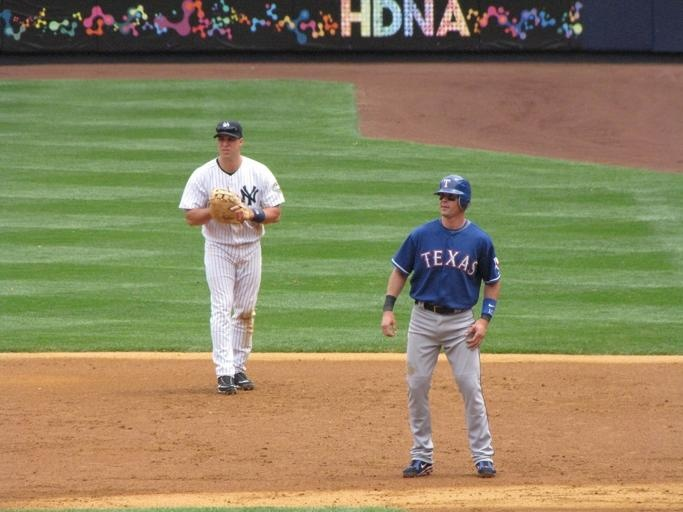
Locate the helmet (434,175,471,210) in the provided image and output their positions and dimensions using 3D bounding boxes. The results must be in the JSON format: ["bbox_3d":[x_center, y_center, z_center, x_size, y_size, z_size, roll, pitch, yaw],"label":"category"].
[{"bbox_3d":[1.694,-0.964,27.277,0.599,0.421,0.483,7,-6,-37],"label":"helmet"}]

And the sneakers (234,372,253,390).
[{"bbox_3d":[-1.563,2.001,28.977,0.166,0.165,0.409,-4,4,-38],"label":"sneakers"}]

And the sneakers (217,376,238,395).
[{"bbox_3d":[-1.812,2.020,28.747,0.296,0.285,0.166,1,7,-3],"label":"sneakers"}]

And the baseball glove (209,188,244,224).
[{"bbox_3d":[-1.846,-0.828,28.585,0.475,0.514,0.551,-4,-20,-5],"label":"baseball glove"}]

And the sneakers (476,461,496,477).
[{"bbox_3d":[2.111,3.155,27.070,0.297,0.250,0.162,2,7,9],"label":"sneakers"}]

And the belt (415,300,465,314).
[{"bbox_3d":[1.477,0.760,27.063,0.613,0.173,0.047,1,7,3],"label":"belt"}]

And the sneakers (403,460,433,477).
[{"bbox_3d":[1.108,3.171,27.085,0.497,0.201,0.184,1,1,-11],"label":"sneakers"}]
